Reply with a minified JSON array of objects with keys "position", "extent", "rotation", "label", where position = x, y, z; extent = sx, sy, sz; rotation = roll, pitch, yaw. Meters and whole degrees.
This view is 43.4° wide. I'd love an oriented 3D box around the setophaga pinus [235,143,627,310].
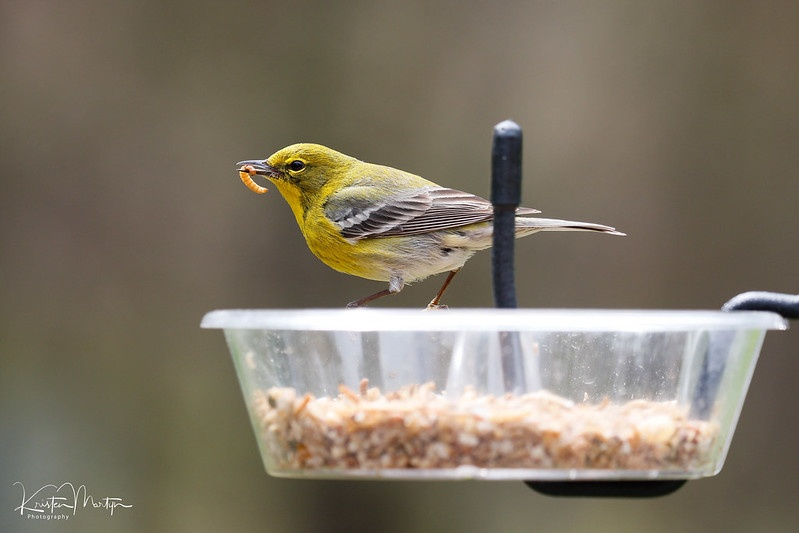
[{"position":[0.118,-0.213,5.804],"extent":[2.053,1.051,0.618],"rotation":[0,2,6],"label":"setophaga pinus"}]
